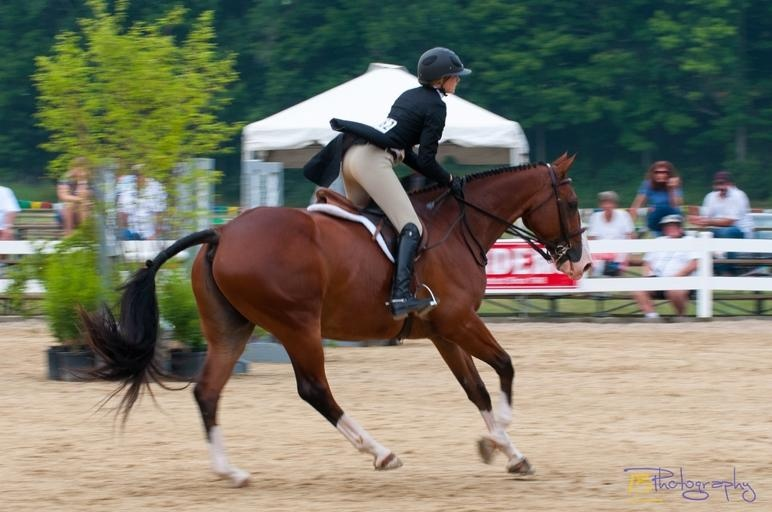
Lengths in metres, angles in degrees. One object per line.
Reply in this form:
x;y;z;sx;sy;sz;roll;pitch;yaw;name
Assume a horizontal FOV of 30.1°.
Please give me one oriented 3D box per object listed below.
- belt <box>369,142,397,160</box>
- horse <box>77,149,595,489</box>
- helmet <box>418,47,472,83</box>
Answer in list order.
-0.008;-1.519;20.518;0.327;0.139;0.230;26;5;8;belt
-0.958;0.806;20.954;10.476;4.731;2.363;-1;2;-38;horse
0.794;-2.793;20.733;0.815;0.292;0.490;-6;16;-7;helmet
